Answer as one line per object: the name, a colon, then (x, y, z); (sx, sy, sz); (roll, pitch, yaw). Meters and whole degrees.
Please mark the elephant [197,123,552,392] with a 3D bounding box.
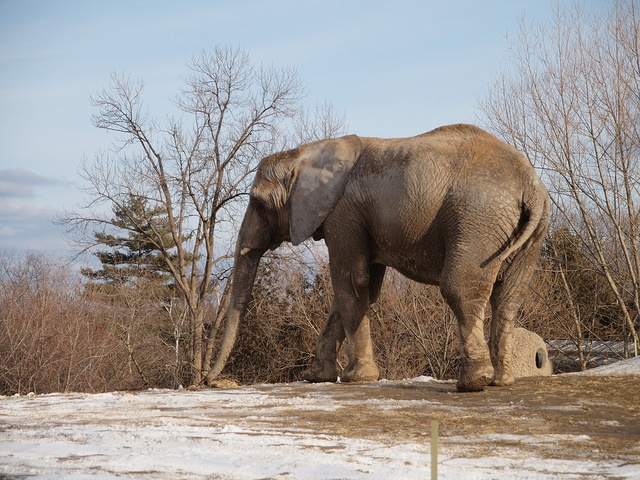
elephant: (0.858, 0.345, 13.388); (4.808, 4.530, 2.679); (-2, 5, 13)
